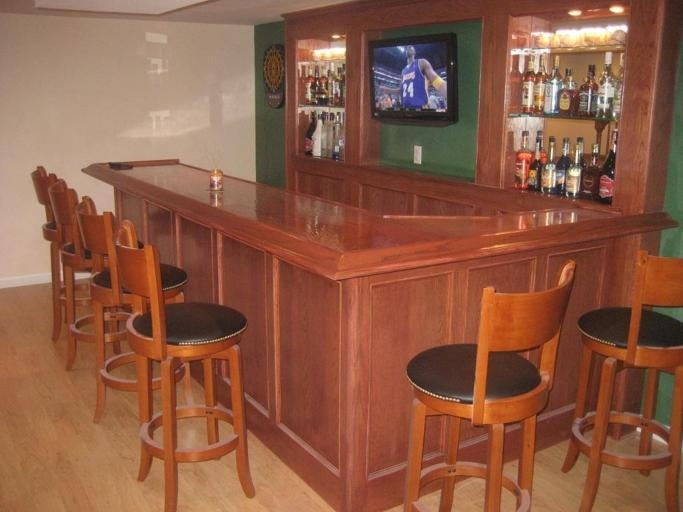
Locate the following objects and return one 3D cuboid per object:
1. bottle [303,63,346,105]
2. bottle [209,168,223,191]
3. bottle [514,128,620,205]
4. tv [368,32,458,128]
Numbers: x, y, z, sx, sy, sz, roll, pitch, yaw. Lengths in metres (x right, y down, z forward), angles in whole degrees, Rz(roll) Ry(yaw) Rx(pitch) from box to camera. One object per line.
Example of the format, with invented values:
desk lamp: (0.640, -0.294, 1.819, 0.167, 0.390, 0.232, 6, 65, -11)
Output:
bottle: (-0.151, -1.649, 5.653, 0.424, 0.383, 0.137, 14, 20, 35)
bottle: (-0.825, -0.498, 3.907, 0.071, 0.134, 0.065, -2, 16, 0)
bottle: (1.425, -0.599, 3.754, 0.225, 0.428, 0.825, -11, 19, -29)
tv: (0.570, -1.379, 4.609, 0.075, 0.563, 0.735, -22, 28, -39)
